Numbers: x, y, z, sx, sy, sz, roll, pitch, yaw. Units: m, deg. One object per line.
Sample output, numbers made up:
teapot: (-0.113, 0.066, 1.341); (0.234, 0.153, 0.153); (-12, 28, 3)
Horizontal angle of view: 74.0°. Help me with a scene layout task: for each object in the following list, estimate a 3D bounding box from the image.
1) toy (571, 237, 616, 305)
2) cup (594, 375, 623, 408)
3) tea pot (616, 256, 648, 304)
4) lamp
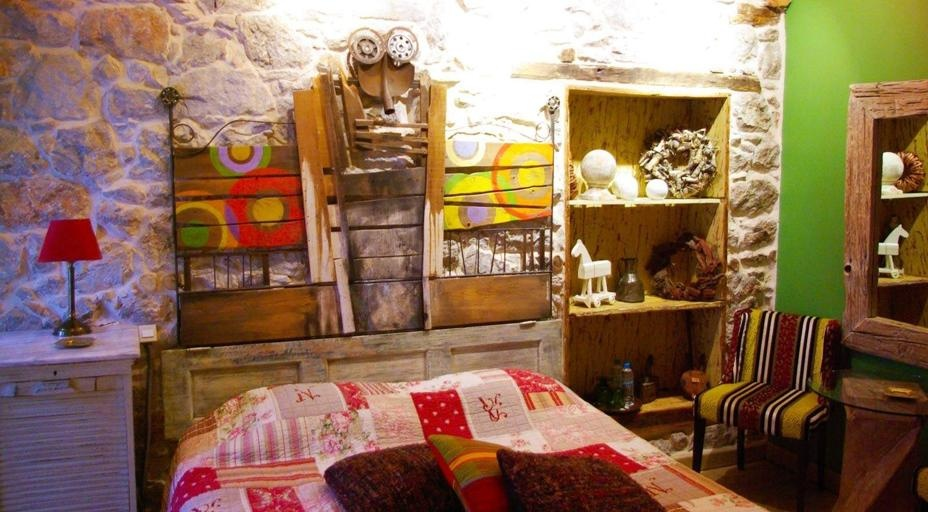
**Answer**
toy: (1.031, 0.118, 4.925); (0.338, 0.523, 0.380); (1, 8, 12)
cup: (1.140, 1.083, 4.915); (0.245, 0.235, 0.221); (1, 4, 11)
tea pot: (1.348, 0.182, 5.028); (0.214, 0.333, 0.317); (1, 8, 15)
lamp: (-2.572, 0.128, 4.037); (0.336, 0.761, 0.324); (-5, 9, -29)
